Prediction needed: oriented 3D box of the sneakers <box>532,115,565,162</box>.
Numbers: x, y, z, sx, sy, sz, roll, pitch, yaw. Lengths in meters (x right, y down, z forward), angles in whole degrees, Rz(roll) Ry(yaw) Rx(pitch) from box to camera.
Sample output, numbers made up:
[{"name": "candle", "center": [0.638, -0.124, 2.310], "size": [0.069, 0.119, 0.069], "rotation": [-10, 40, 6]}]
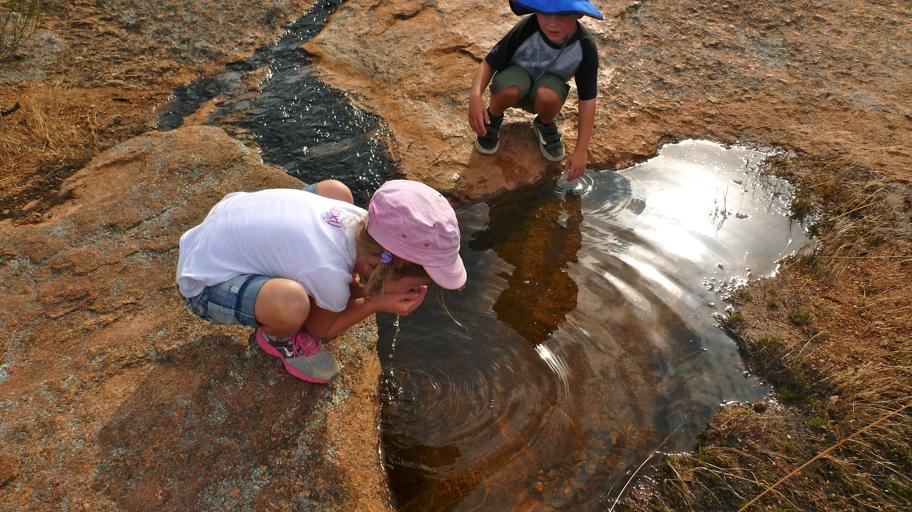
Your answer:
[{"name": "sneakers", "center": [0.853, -1.072, 6.526], "size": [0.186, 0.195, 0.488], "rotation": [-25, 79, -7]}]

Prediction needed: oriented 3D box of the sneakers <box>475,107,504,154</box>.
[{"name": "sneakers", "center": [0.316, -1.145, 6.442], "size": [0.177, 0.217, 0.454], "rotation": [7, 64, -8]}]
